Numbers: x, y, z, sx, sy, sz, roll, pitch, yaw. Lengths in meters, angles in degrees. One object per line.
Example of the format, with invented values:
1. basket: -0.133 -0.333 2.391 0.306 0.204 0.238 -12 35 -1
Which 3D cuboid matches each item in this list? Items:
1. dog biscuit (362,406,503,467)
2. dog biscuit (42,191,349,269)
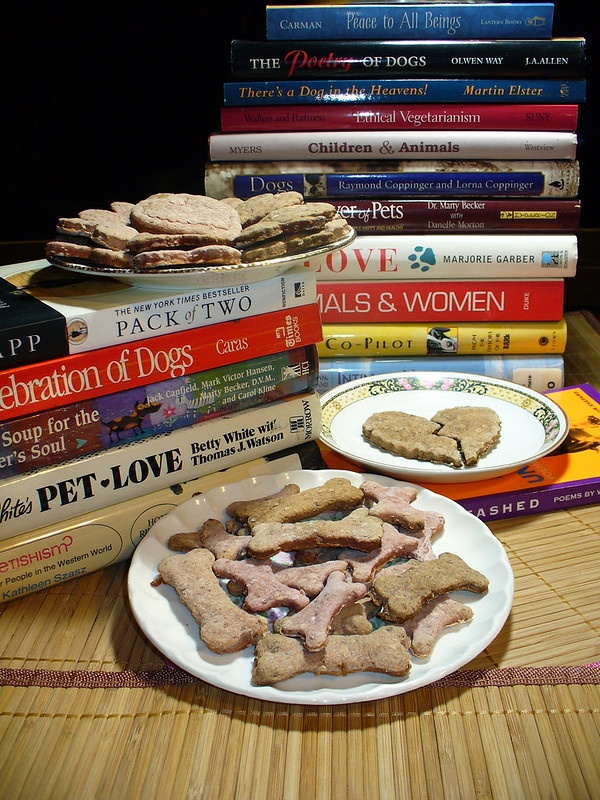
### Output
1. dog biscuit: 0.137 0.030 0.679 0.129 0.017 0.119 14 29 38
2. dog biscuit: -0.087 -0.152 0.589 0.248 0.044 0.199 -17 25 -28
